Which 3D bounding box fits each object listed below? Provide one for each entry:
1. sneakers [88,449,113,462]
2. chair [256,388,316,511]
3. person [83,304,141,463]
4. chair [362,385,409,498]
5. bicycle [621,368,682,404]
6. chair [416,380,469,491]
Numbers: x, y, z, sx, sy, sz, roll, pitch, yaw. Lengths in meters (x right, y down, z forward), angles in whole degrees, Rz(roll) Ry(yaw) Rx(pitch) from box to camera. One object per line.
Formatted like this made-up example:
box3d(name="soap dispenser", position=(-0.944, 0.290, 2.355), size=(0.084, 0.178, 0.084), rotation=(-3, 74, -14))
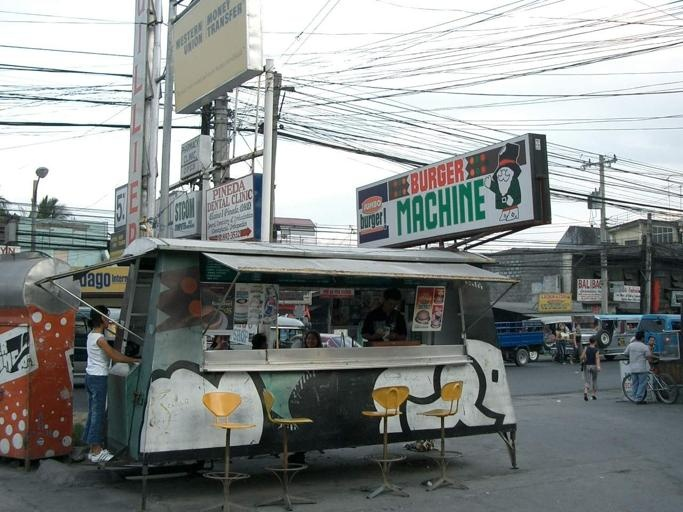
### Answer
box3d(name="sneakers", position=(-3.886, 3.240, 12.166), size=(0.399, 0.172, 0.164), rotation=(-9, -35, 27))
box3d(name="chair", position=(-0.890, 3.011, 12.095), size=(0.838, 1.739, 1.745), rotation=(0, -5, -3))
box3d(name="person", position=(-3.981, 2.152, 12.689), size=(0.578, 2.621, 1.417), rotation=(2, -5, -25))
box3d(name="chair", position=(0.733, 3.012, 12.502), size=(0.734, 1.725, 1.297), rotation=(0, -5, 4))
box3d(name="bicycle", position=(8.989, 3.892, 22.121), size=(1.447, 0.935, 0.739), rotation=(-10, -11, 38))
box3d(name="chair", position=(1.723, 2.994, 12.771), size=(0.736, 1.733, 1.086), rotation=(-1, -5, 6))
